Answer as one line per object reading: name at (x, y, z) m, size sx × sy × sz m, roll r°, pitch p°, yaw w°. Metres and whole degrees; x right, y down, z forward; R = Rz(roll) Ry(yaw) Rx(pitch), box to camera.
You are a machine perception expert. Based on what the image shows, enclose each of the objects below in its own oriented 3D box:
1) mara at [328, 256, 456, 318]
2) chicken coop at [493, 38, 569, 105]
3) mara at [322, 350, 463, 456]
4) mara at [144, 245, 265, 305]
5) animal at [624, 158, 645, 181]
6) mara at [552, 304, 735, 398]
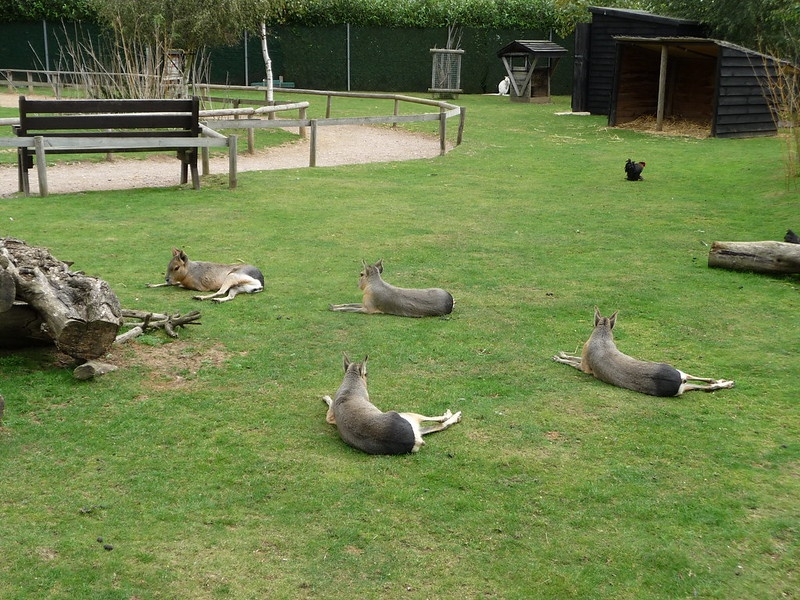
mara at (-0.069, -0.131, 9.769) m, size 1.408 × 0.642 × 0.281 m, roll 1°, pitch 14°, yaw 4°
chicken coop at (5.144, -9.093, 33.364) m, size 2.192 × 2.420 × 2.337 m, roll -1°, pitch 13°, yaw -9°
mara at (-0.123, 0.942, 7.527) m, size 1.168 × 0.685 × 0.725 m, roll 3°, pitch 13°, yaw 11°
mara at (-2.353, -0.318, 10.267) m, size 1.361 × 0.433 × 0.901 m, roll 1°, pitch 10°, yaw -16°
animal at (4.695, -2.582, 16.728) m, size 0.297 × 0.452 × 0.741 m, roll 15°, pitch 22°, yaw 33°
mara at (2.347, 0.533, 8.374) m, size 1.686 × 0.719 × 0.472 m, roll 6°, pitch 15°, yaw 24°
